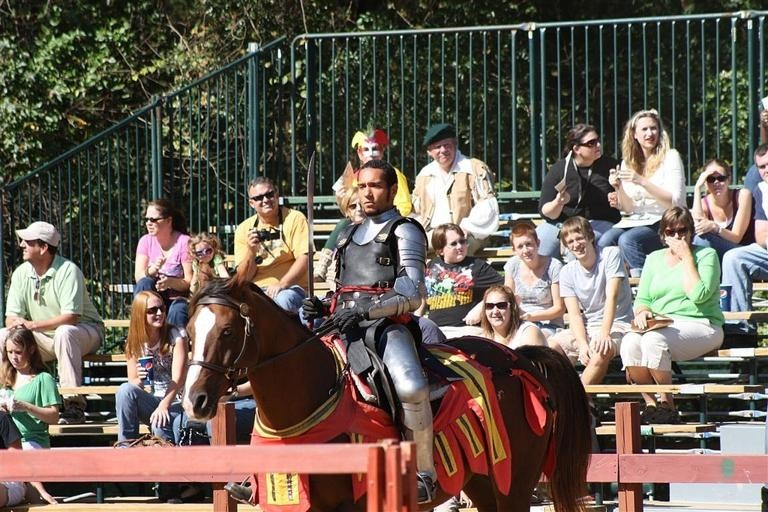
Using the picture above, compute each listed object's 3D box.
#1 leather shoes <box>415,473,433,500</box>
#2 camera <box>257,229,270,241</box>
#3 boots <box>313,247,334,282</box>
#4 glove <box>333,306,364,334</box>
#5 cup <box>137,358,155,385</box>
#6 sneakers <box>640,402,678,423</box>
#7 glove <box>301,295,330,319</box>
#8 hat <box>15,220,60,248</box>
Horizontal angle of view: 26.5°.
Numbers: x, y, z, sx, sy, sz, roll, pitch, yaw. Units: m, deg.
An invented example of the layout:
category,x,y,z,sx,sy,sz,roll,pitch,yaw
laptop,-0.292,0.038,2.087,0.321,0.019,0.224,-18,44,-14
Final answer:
category,x,y,z,sx,sy,sz,roll,pitch,yaw
leather shoes,0.436,2.439,17.345,0.192,0.315,0.089,-2,-2,-15
camera,-1.593,-0.264,21.237,0.116,0.127,0.123,1,-13,-10
boots,-0.827,0.091,21.903,0.233,0.512,0.753,0,-7,2
glove,-0.396,0.656,17.346,0.294,0.253,0.138,-13,-40,20
cup,-2.993,1.427,20.493,0.253,0.411,0.281,-3,-19,-9
sneakers,3.399,1.936,20.314,0.536,0.265,0.188,4,-3,-22
glove,-0.758,0.552,17.661,0.265,0.222,0.127,-9,9,-26
hat,-4.606,-0.241,21.701,0.446,0.248,0.331,14,2,-10
